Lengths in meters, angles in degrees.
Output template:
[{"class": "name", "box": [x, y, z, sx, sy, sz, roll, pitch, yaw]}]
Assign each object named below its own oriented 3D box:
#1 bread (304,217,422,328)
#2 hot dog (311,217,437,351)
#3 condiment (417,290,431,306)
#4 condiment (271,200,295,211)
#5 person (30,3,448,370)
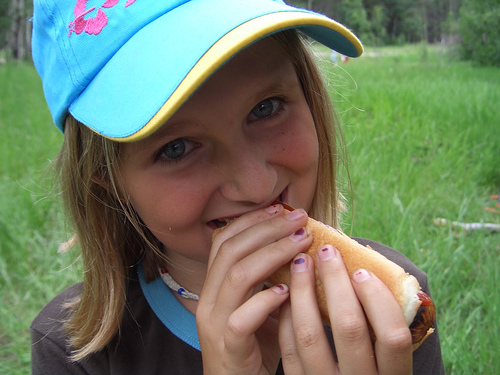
[{"class": "bread", "box": [0.379, 0.370, 2.110, 0.266, 0.215, 0.565, -24, 50, -37]}, {"class": "hot dog", "box": [0.437, 0.334, 2.170, 0.279, 0.222, 0.700, -26, 51, -28]}, {"class": "condiment", "box": [0.636, 0.402, 1.934, 0.048, 0.040, 0.066, 5, 14, 23]}, {"class": "condiment", "box": [0.138, 0.070, 2.233, 0.050, 0.032, 0.117, -14, 19, -43]}, {"class": "person", "box": [-0.366, -0.074, 2.668, 1.154, 1.309, 2.265, 0, 12, -23]}]
